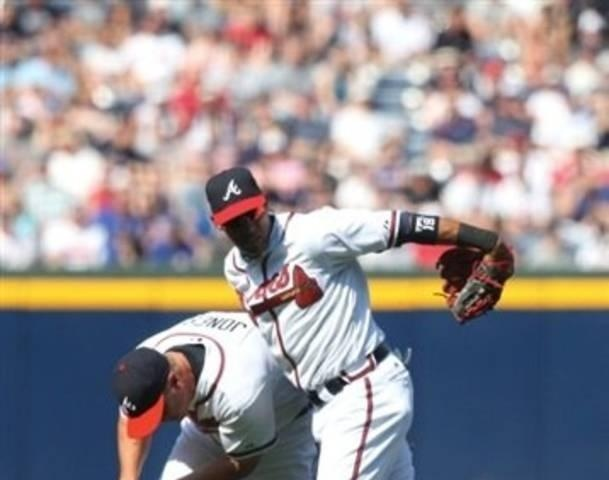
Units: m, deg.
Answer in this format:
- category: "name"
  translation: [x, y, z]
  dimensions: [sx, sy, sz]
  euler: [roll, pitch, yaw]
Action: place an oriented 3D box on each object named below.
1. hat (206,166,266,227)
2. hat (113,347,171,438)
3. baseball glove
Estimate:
- category: "hat"
  translation: [-0.411, -0.279, 7.384]
  dimensions: [0.340, 0.252, 0.449]
  euler: [-22, 17, -7]
- category: "hat"
  translation: [-0.940, 0.825, 7.236]
  dimensions: [0.316, 0.282, 0.471]
  euler: [-13, 57, 16]
- category: "baseball glove"
  translation: [0.927, 0.224, 7.414]
  dimensions: [0.433, 0.250, 0.570]
  euler: [-22, 25, 17]
